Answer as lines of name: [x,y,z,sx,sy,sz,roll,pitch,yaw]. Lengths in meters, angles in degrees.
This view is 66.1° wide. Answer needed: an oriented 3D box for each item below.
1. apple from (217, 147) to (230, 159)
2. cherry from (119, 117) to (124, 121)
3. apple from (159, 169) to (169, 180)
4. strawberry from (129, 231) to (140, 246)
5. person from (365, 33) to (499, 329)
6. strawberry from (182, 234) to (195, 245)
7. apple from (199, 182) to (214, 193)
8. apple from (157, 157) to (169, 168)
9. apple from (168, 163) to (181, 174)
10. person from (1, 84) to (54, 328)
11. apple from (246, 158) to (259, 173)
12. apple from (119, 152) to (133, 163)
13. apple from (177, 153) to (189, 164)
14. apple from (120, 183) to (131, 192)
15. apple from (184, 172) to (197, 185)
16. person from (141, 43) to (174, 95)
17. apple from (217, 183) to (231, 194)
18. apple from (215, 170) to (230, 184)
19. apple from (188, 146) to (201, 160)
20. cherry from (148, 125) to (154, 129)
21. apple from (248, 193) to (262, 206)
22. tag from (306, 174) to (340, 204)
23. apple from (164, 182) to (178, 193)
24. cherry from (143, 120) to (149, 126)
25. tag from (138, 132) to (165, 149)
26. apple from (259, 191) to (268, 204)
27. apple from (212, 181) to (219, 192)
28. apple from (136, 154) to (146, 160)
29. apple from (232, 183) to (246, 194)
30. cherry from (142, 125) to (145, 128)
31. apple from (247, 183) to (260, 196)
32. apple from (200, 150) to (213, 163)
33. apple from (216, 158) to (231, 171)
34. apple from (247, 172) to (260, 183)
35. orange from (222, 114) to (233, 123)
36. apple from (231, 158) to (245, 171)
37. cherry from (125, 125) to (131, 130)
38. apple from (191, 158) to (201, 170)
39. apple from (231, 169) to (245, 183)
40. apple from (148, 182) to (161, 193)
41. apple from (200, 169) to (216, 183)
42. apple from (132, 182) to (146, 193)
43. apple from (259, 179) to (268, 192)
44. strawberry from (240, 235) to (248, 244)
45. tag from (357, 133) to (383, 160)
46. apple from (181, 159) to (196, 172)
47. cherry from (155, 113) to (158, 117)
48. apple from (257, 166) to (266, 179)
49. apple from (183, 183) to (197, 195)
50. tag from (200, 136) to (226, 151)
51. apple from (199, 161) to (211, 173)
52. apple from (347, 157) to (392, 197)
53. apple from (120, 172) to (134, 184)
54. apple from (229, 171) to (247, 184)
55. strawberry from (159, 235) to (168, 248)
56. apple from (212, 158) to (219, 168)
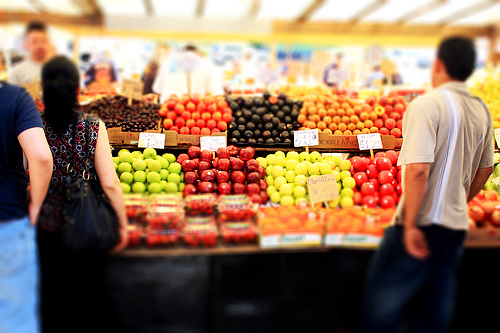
apple: [-0.246,-0.127,3.575,0.118,0.088,0.069,-1,11,-9]
cherry: [-1.332,-0.494,3.987,0.042,0.022,0.041,3,3,2]
apple: [-0.791,0.072,3.536,0.088,0.094,0.053,-2,12,-13]
strawberry: [-0.924,0.581,3.077,0.060,0.103,0.084,0,0,37]
person: [1.466,0.160,3.112,0.565,2.367,0.981,11,16,43]
strawberry: [-0.488,0.589,3.074,0.091,0.071,0.049,2,2,2]
apple: [-0.385,0.187,3.414,0.096,0.094,0.097,3,-7,-18]
apple: [-0.801,-0.035,3.571,0.088,0.099,0.085,-5,38,-4]
apple: [-0.694,0.014,3.541,0.117,0.092,0.094,5,36,-17]
person: [-1.744,0.317,2.945,0.429,1.867,0.301,-7,13,-32]
apple: [0.018,-0.007,3.545,0.113,0.127,0.110,-1,-5,7]
apple: [-1.137,-0.086,3.523,0.103,0.094,0.097,-9,-32,1]
apple: [-0.641,-0.080,3.668,0.087,0.098,0.084,-1,16,-6]
apple: [-1.107,0.188,3.434,0.085,0.081,0.062,-4,12,-23]
apple: [-0.541,0.104,3.489,0.110,0.096,0.108,6,12,9]
person: [-2.035,-2.244,8.602,0.899,0.447,1.394,-2,-5,-18]
apple: [-0.229,0.192,3.411,0.099,0.087,0.094,-7,27,-19]
apple: [-0.246,0.093,3.464,0.108,0.094,0.104,2,14,-14]
apple: [-0.534,-0.133,3.728,0.124,0.115,0.120,2,17,-4]
cherry: [-1.003,-0.405,3.877,0.044,0.032,0.038,-3,12,-15]
apple: [0.047,0.293,3.419,0.121,0.095,0.126,0,11,-4]
tag: [0.666,0.204,3.509,0.278,0.253,0.091,-1,11,-9]
apple: [-0.705,0.191,3.510,0.090,0.087,0.103,-10,-25,31]
cherry: [-1.068,-0.445,3.915,0.042,0.051,0.019,1,-24,-4]
tag: [-0.951,-0.251,3.713,0.246,0.161,0.096,-3,12,-15]
apple: [0.124,0.277,3.497,0.098,0.113,0.100,0,-2,32]
apple: [-0.311,0.183,3.473,0.041,0.068,0.056,2,-9,-14]
apple: [-1.027,-0.093,3.616,0.056,0.054,0.065,-6,-31,22]
apple: [-0.101,0.194,3.483,0.089,0.079,0.090,9,14,35]
cherry: [-1.066,-0.406,3.839,0.019,0.013,0.021,7,21,20]
apple: [0.032,0.210,3.466,0.105,0.095,0.102,2,0,-17]
apple: [-0.411,-0.100,3.614,0.107,0.093,0.104,-1,2,4]
apple: [-0.247,-0.019,3.557,0.109,0.096,0.107,4,14,14]
apple: [0.030,0.100,3.566,0.092,0.087,0.108,-12,-16,-13]
orange: [-0.236,-0.508,4.030,0.098,0.080,0.084,16,37,36]
apple: [-0.120,-0.024,3.580,0.112,0.098,0.108,-4,8,-29]
cherry: [-1.211,-0.392,3.816,0.052,0.030,0.021,5,-1,15]
apple: [-0.494,-0.022,3.616,0.095,0.107,0.092,0,5,2]
apple: [-0.110,0.089,3.486,0.100,0.086,0.096,1,-1,-22]
apple: [-0.856,0.191,3.482,0.087,0.085,0.102,-26,-21,30]
apple: [-0.380,0.084,3.466,0.116,0.108,0.110,-4,-20,-5]
apple: [-0.994,0.190,3.488,0.109,0.090,0.094,-1,-34,32]
apple: [0.119,0.176,3.550,0.096,0.108,0.093,-1,6,2]
strawberry: [-0.045,0.595,3.145,0.062,0.062,0.065,3,3,17]
tag: [1.206,-0.215,3.862,0.270,0.314,0.053,-4,13,0]
apple: [-0.569,-0.012,3.539,0.115,0.101,0.113,6,14,9]
cherry: [-0.990,-0.550,4.067,0.026,0.033,0.050,-2,12,-14]
apple: [0.107,0.054,3.594,0.098,0.110,0.095,0,-5,3]
apple: [-0.532,0.203,3.432,0.092,0.091,0.116,-2,11,30]
tag: [-0.368,-0.221,3.724,0.238,0.150,0.047,0,1,-5]
apple: [-0.422,-0.003,3.588,0.102,0.089,0.097,-4,22,-7]
apple: [1.150,0.064,3.682,0.378,0.134,0.394,11,25,26]
apple: [-1.104,0.102,3.445,0.124,0.098,0.101,3,-7,10]
apple: [-0.109,0.097,3.538,0.117,0.101,0.114,2,11,-2]
strawberry: [-0.690,0.600,3.061,0.068,0.097,0.018,2,11,8]
apple: [-0.313,-0.035,3.564,0.047,0.079,0.061,13,29,-9]
